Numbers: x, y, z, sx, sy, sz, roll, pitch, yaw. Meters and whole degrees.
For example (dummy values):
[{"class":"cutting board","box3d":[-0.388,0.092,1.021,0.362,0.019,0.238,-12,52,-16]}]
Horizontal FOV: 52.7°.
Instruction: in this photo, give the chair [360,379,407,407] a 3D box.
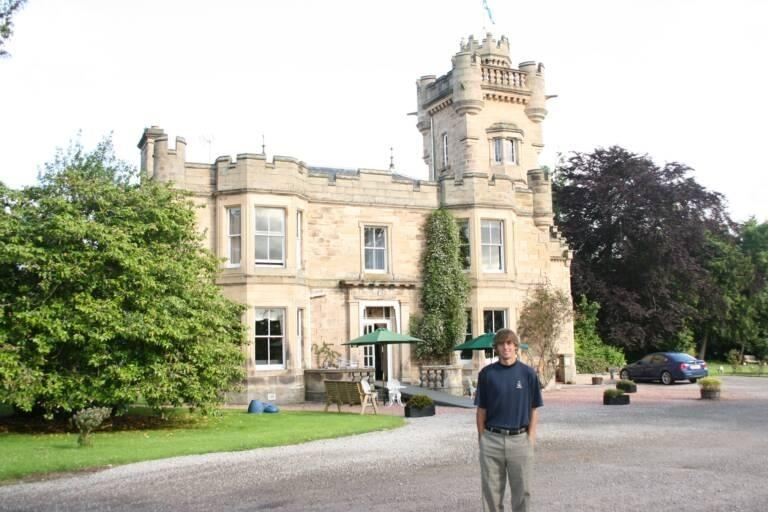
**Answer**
[{"class":"chair","box3d":[-0.044,4.985,28.527,1.465,0.892,1.422,0,-3,-6]}]

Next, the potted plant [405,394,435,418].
[{"class":"potted plant","box3d":[1.121,4.849,24.974,0.745,0.507,0.733,2,-8,-8]}]

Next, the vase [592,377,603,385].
[{"class":"vase","box3d":[10.511,6.107,38.062,0.439,0.293,0.409,1,-3,-13]}]

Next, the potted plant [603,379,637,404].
[{"class":"potted plant","box3d":[8.629,4.921,27.902,0.954,0.529,2.516,-5,-9,34]}]

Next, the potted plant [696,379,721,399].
[{"class":"potted plant","box3d":[11.951,4.868,28.341,0.771,0.733,0.759,-2,-6,10]}]

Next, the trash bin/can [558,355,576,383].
[{"class":"trash bin/can","box3d":[9.038,5.542,38.212,0.894,1.460,0.426,0,-1,-12]}]

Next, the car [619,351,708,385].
[{"class":"car","box3d":[13.482,5.388,37.256,0.928,1.421,3.721,1,-3,-38]}]
